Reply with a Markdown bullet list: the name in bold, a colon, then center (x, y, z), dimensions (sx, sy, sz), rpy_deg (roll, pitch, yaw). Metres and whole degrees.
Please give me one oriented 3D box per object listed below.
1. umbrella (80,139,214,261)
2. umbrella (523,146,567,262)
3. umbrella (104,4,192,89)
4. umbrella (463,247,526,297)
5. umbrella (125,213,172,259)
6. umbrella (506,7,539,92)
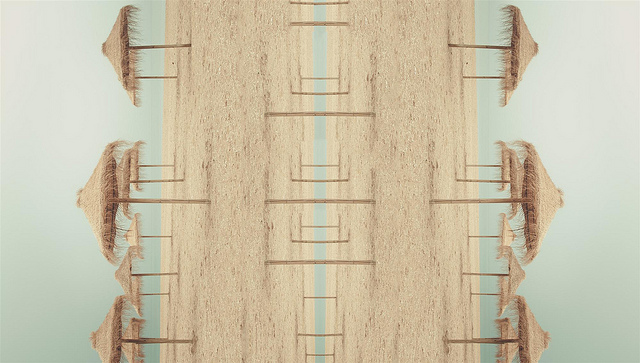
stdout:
- **umbrella**: center (-0.860, 0.137, 7.064), dimensions (0.811, 0.581, 0.628), rpy_deg (0, -27, -2)
- **umbrella**: center (1.128, 0.106, 7.002), dimensions (0.257, 0.557, 0.757), rpy_deg (-11, -4, 10)
- **umbrella**: center (-0.907, -0.668, 6.914), dimensions (0.587, 0.309, 0.481), rpy_deg (0, 3, -5)
- **umbrella**: center (0.853, 0.472, 6.988), dimensions (0.405, 0.165, 0.291), rpy_deg (5, 15, 5)
- **umbrella**: center (-0.875, 0.282, 6.926), dimensions (0.231, 0.172, 0.097), rpy_deg (1, -7, -3)
- **umbrella**: center (1.018, -0.684, 6.896), dimensions (0.152, 0.247, 0.351), rpy_deg (2, -21, -6)
